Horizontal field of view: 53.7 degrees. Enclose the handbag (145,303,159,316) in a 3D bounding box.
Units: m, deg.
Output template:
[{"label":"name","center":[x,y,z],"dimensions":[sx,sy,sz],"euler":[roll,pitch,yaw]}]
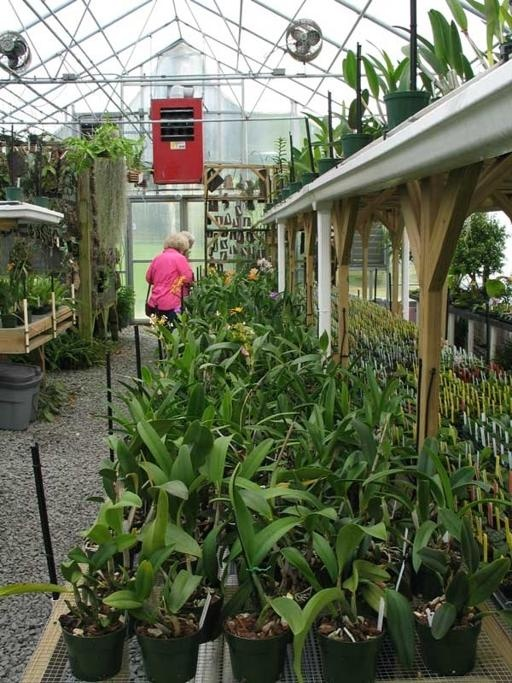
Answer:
[{"label":"handbag","center":[-1.215,-0.378,5.938],"dimensions":[0.142,0.191,0.164],"euler":[-5,30,-5]}]
